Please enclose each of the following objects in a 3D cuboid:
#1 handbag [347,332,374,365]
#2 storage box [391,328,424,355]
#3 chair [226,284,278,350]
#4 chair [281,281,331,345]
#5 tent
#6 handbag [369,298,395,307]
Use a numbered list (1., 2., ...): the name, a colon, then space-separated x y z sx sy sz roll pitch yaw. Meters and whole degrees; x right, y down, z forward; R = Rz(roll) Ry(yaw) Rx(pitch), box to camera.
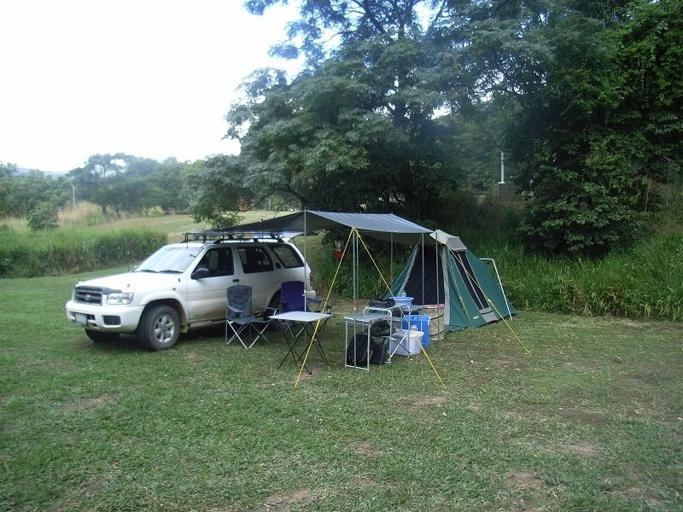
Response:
1. handbag: 0.353 1.656 10.437 0.384 0.558 0.195 -3 -23 33
2. storage box: 1.238 1.588 11.111 0.555 0.393 0.427 -2 -1 29
3. chair: -1.928 1.119 11.128 0.592 0.998 0.659 -9 12 -11
4. chair: -0.746 1.127 11.867 0.859 1.178 0.957 -4 6 -40
5. tent: 2.569 0.428 13.206 2.688 2.306 1.334 -6 15 -25
6. handbag: 0.794 0.885 11.256 0.539 0.111 0.386 -3 14 -15
